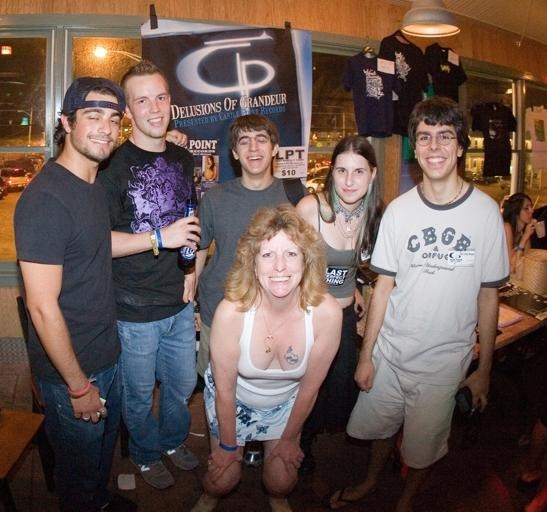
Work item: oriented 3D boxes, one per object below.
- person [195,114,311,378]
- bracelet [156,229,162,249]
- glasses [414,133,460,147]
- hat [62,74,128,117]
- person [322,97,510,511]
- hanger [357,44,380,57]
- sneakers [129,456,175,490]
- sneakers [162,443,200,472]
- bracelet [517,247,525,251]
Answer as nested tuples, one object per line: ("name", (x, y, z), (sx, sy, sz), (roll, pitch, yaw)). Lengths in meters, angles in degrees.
("person", (-0.160, 0.163, 2.312), (0.652, 1.796, 0.516), (2, 9, -1))
("bracelet", (-0.542, -0.081, 2.060), (0.026, 0.085, 0.020), (-4, 14, -1))
("glasses", (0.737, -0.530, 1.967), (0.163, 0.061, 0.072), (2, 16, 17))
("hat", (-0.764, -0.676, 1.839), (0.242, 0.136, 0.173), (11, 24, 21))
("person", (0.684, 0.310, 2.063), (0.707, 2.045, 0.449), (-11, 16, -27))
("hanger", (0.808, -1.735, 3.666), (0.118, 0.117, 0.170), (4, 17, 26))
("sneakers", (-0.705, 1.235, 2.478), (0.098, 0.104, 0.261), (-6, 5, -39))
("sneakers", (-0.545, 1.204, 2.569), (0.221, 0.089, 0.096), (12, 13, 43))
("bracelet", (2.126, -0.057, 3.725), (0.034, 0.026, 0.034), (-3, 1, -20))
